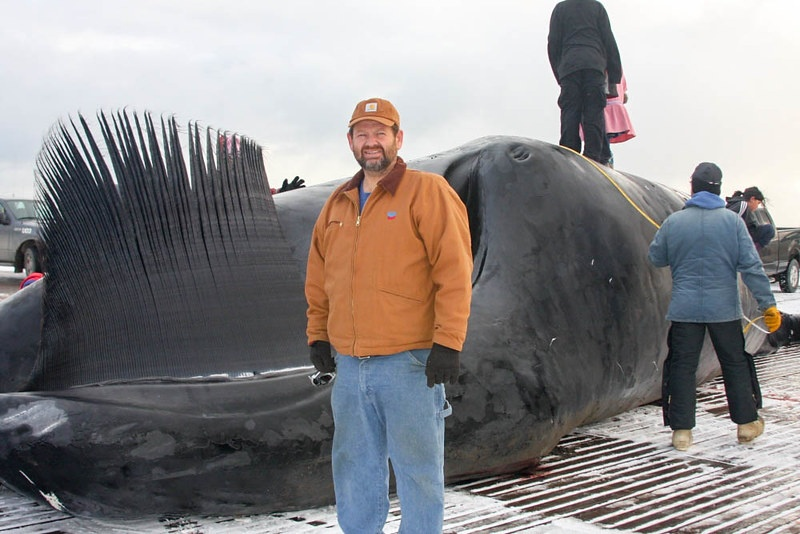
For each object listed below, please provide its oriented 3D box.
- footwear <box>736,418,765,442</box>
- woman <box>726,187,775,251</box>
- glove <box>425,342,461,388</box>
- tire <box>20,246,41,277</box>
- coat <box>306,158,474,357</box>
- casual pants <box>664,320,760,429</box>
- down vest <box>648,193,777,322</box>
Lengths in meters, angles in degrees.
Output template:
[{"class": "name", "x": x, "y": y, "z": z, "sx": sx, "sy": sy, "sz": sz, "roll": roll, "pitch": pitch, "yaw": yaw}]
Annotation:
[{"class": "footwear", "x": 2.855, "y": 1.315, "z": 4.958, "sx": 0.107, "sy": 0.143, "sz": 0.336, "roll": -10, "pitch": -5, "yaw": 42}, {"class": "woman", "x": 5.564, "y": -0.616, "z": 9.839, "sx": 0.824, "sy": 1.325, "sz": 0.837, "roll": 1, "pitch": -6, "yaw": 30}, {"class": "glove", "x": 0.215, "y": 0.495, "z": 3.072, "sx": 0.154, "sy": 0.238, "sz": 0.129, "roll": 2, "pitch": 7, "yaw": 20}, {"class": "tire", "x": -9.132, "y": -0.191, "z": 15.087, "sx": 0.264, "sy": 0.791, "sz": 0.761, "roll": -2, "pitch": 2, "yaw": -36}, {"class": "coat", "x": -0.064, "y": -0.068, "z": 3.447, "sx": 1.115, "sy": 1.076, "sz": 0.564, "roll": 2, "pitch": -1, "yaw": 36}, {"class": "casual pants", "x": 2.587, "y": 0.910, "z": 5.125, "sx": 0.843, "sy": 0.964, "sz": 0.298, "roll": -2, "pitch": -14, "yaw": 5}, {"class": "down vest", "x": 2.593, "y": -0.115, "z": 5.143, "sx": 1.039, "sy": 1.048, "sz": 0.649, "roll": 2, "pitch": 12, "yaw": 25}]
